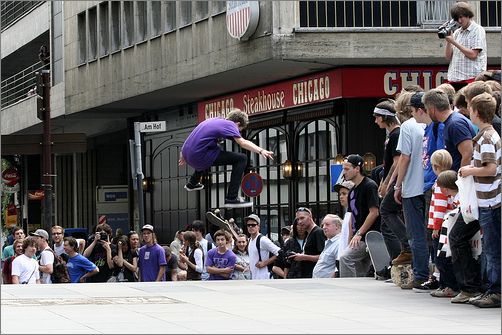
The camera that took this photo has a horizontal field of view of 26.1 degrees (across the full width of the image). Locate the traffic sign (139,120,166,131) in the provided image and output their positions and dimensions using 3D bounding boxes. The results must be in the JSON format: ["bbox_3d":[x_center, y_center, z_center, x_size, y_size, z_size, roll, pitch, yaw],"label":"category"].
[{"bbox_3d":[-2.644,-1.109,28.946,0.656,0.267,1.347,-2,4,-2],"label":"traffic sign"}]

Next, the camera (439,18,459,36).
[{"bbox_3d":[4.009,-2.814,21.852,0.353,0.386,0.862,0,5,21],"label":"camera"}]

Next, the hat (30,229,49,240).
[{"bbox_3d":[-4.609,1.443,23.717,0.316,0.148,0.212,6,-7,-20],"label":"hat"}]

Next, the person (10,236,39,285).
[{"bbox_3d":[-4.768,1.924,22.697,0.579,0.947,0.502,-3,5,-12],"label":"person"}]

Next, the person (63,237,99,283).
[{"bbox_3d":[-3.785,2.007,24.004,0.696,0.981,0.470,-3,5,-10],"label":"person"}]

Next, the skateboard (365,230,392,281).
[{"bbox_3d":[2.519,1.636,21.258,0.334,1.122,0.168,-11,14,-14],"label":"skateboard"}]

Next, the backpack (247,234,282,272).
[{"bbox_3d":[0.278,1.873,23.728,0.484,1.028,0.568,10,-23,-32],"label":"backpack"}]

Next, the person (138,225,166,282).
[{"bbox_3d":[-2.269,1.920,24.420,0.699,1.177,0.431,2,6,41],"label":"person"}]

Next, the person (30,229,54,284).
[{"bbox_3d":[-4.510,1.911,23.291,0.479,1.447,0.589,-5,-23,-4],"label":"person"}]

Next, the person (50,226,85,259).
[{"bbox_3d":[-4.400,1.694,25.209,0.663,0.505,0.931,3,-9,-21],"label":"person"}]

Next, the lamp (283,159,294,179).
[{"bbox_3d":[1.209,0.051,34.513,0.178,0.635,0.327,-6,6,-40],"label":"lamp"}]

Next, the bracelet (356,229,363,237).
[{"bbox_3d":[2.149,1.255,21.226,0.126,0.151,0.083,3,7,6],"label":"bracelet"}]

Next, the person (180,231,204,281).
[{"bbox_3d":[-1.353,1.978,24.818,0.542,1.061,1.392,-2,4,-4],"label":"person"}]

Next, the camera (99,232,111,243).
[{"bbox_3d":[-3.440,1.590,25.378,0.255,0.247,0.099,2,10,-13],"label":"camera"}]

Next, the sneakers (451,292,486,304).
[{"bbox_3d":[3.734,2.200,18.547,0.568,0.216,0.184,-1,0,7],"label":"sneakers"}]

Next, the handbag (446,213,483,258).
[{"bbox_3d":[3.684,1.125,18.495,0.508,0.818,0.739,-2,6,-13],"label":"handbag"}]

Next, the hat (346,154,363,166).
[{"bbox_3d":[2.083,-0.155,21.540,0.337,0.223,0.468,1,5,28],"label":"hat"}]

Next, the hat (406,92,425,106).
[{"bbox_3d":[2.981,-1.216,19.344,0.297,0.260,0.542,-1,4,8],"label":"hat"}]

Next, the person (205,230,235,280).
[{"bbox_3d":[-0.671,1.874,23.519,0.677,1.044,0.634,-2,5,1],"label":"person"}]

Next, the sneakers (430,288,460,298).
[{"bbox_3d":[3.440,2.189,19.076,0.334,0.118,0.201,3,-5,6],"label":"sneakers"}]

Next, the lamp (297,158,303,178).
[{"bbox_3d":[1.548,0.024,34.217,0.258,0.511,0.078,2,7,43],"label":"lamp"}]

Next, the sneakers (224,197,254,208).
[{"bbox_3d":[-0.238,0.689,21.458,0.575,0.197,0.200,0,-2,-6],"label":"sneakers"}]

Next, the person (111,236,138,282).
[{"bbox_3d":[-2.898,2.067,24.981,0.559,0.948,0.877,-2,5,-5],"label":"person"}]

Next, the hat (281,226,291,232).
[{"bbox_3d":[0.886,1.433,26.465,0.173,0.081,0.282,-2,-12,15],"label":"hat"}]

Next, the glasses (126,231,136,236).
[{"bbox_3d":[-2.854,1.518,25.737,0.118,0.064,0.141,-14,-16,-37],"label":"glasses"}]
